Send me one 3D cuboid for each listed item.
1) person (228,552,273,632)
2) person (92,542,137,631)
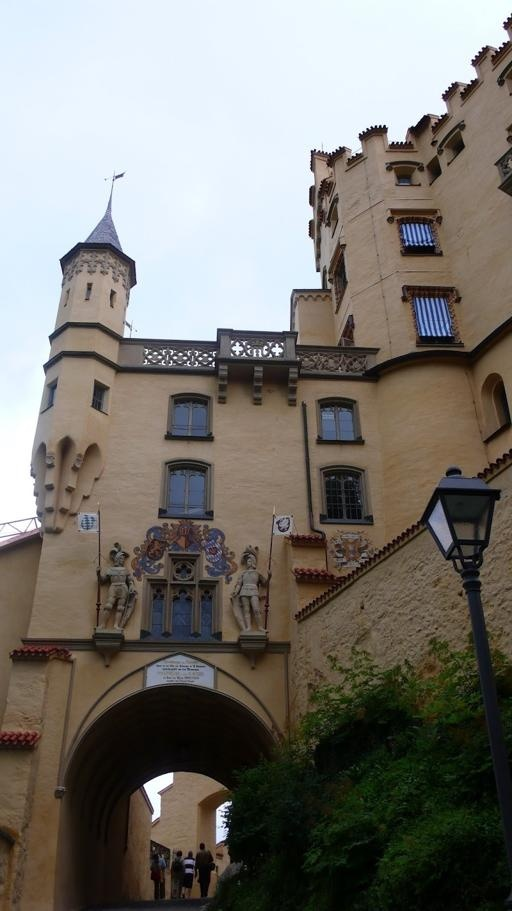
[{"bbox_3d":[-0.148,3.268,17.209,0.889,2.304,0.444,-1,-30,1],"label":"person"},{"bbox_3d":[-3.299,3.037,16.851,0.755,2.256,0.486,8,-39,-14],"label":"person"}]
